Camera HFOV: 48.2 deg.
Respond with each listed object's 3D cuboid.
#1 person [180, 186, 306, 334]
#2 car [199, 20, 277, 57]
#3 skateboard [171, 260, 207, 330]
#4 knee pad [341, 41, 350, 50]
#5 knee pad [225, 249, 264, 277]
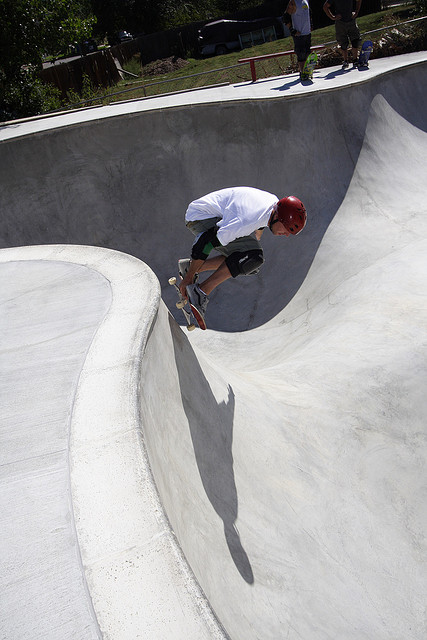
[{"bbox_3d":[0.095,-0.662,3.819,0.685,1.184,0.661,13,46,-30],"label":"person"},{"bbox_3d":[0.932,-12.259,20.578,3.518,1.239,1.148,10,35,33],"label":"car"},{"bbox_3d":[-0.208,-0.157,3.772,0.268,0.741,0.219,29,61,21],"label":"skateboard"},{"bbox_3d":[2.083,-4.354,7.593,0.077,0.089,0.087,8,-3,22],"label":"knee pad"},{"bbox_3d":[0.247,-0.428,3.663,0.243,0.182,0.241,-11,65,19],"label":"knee pad"}]
